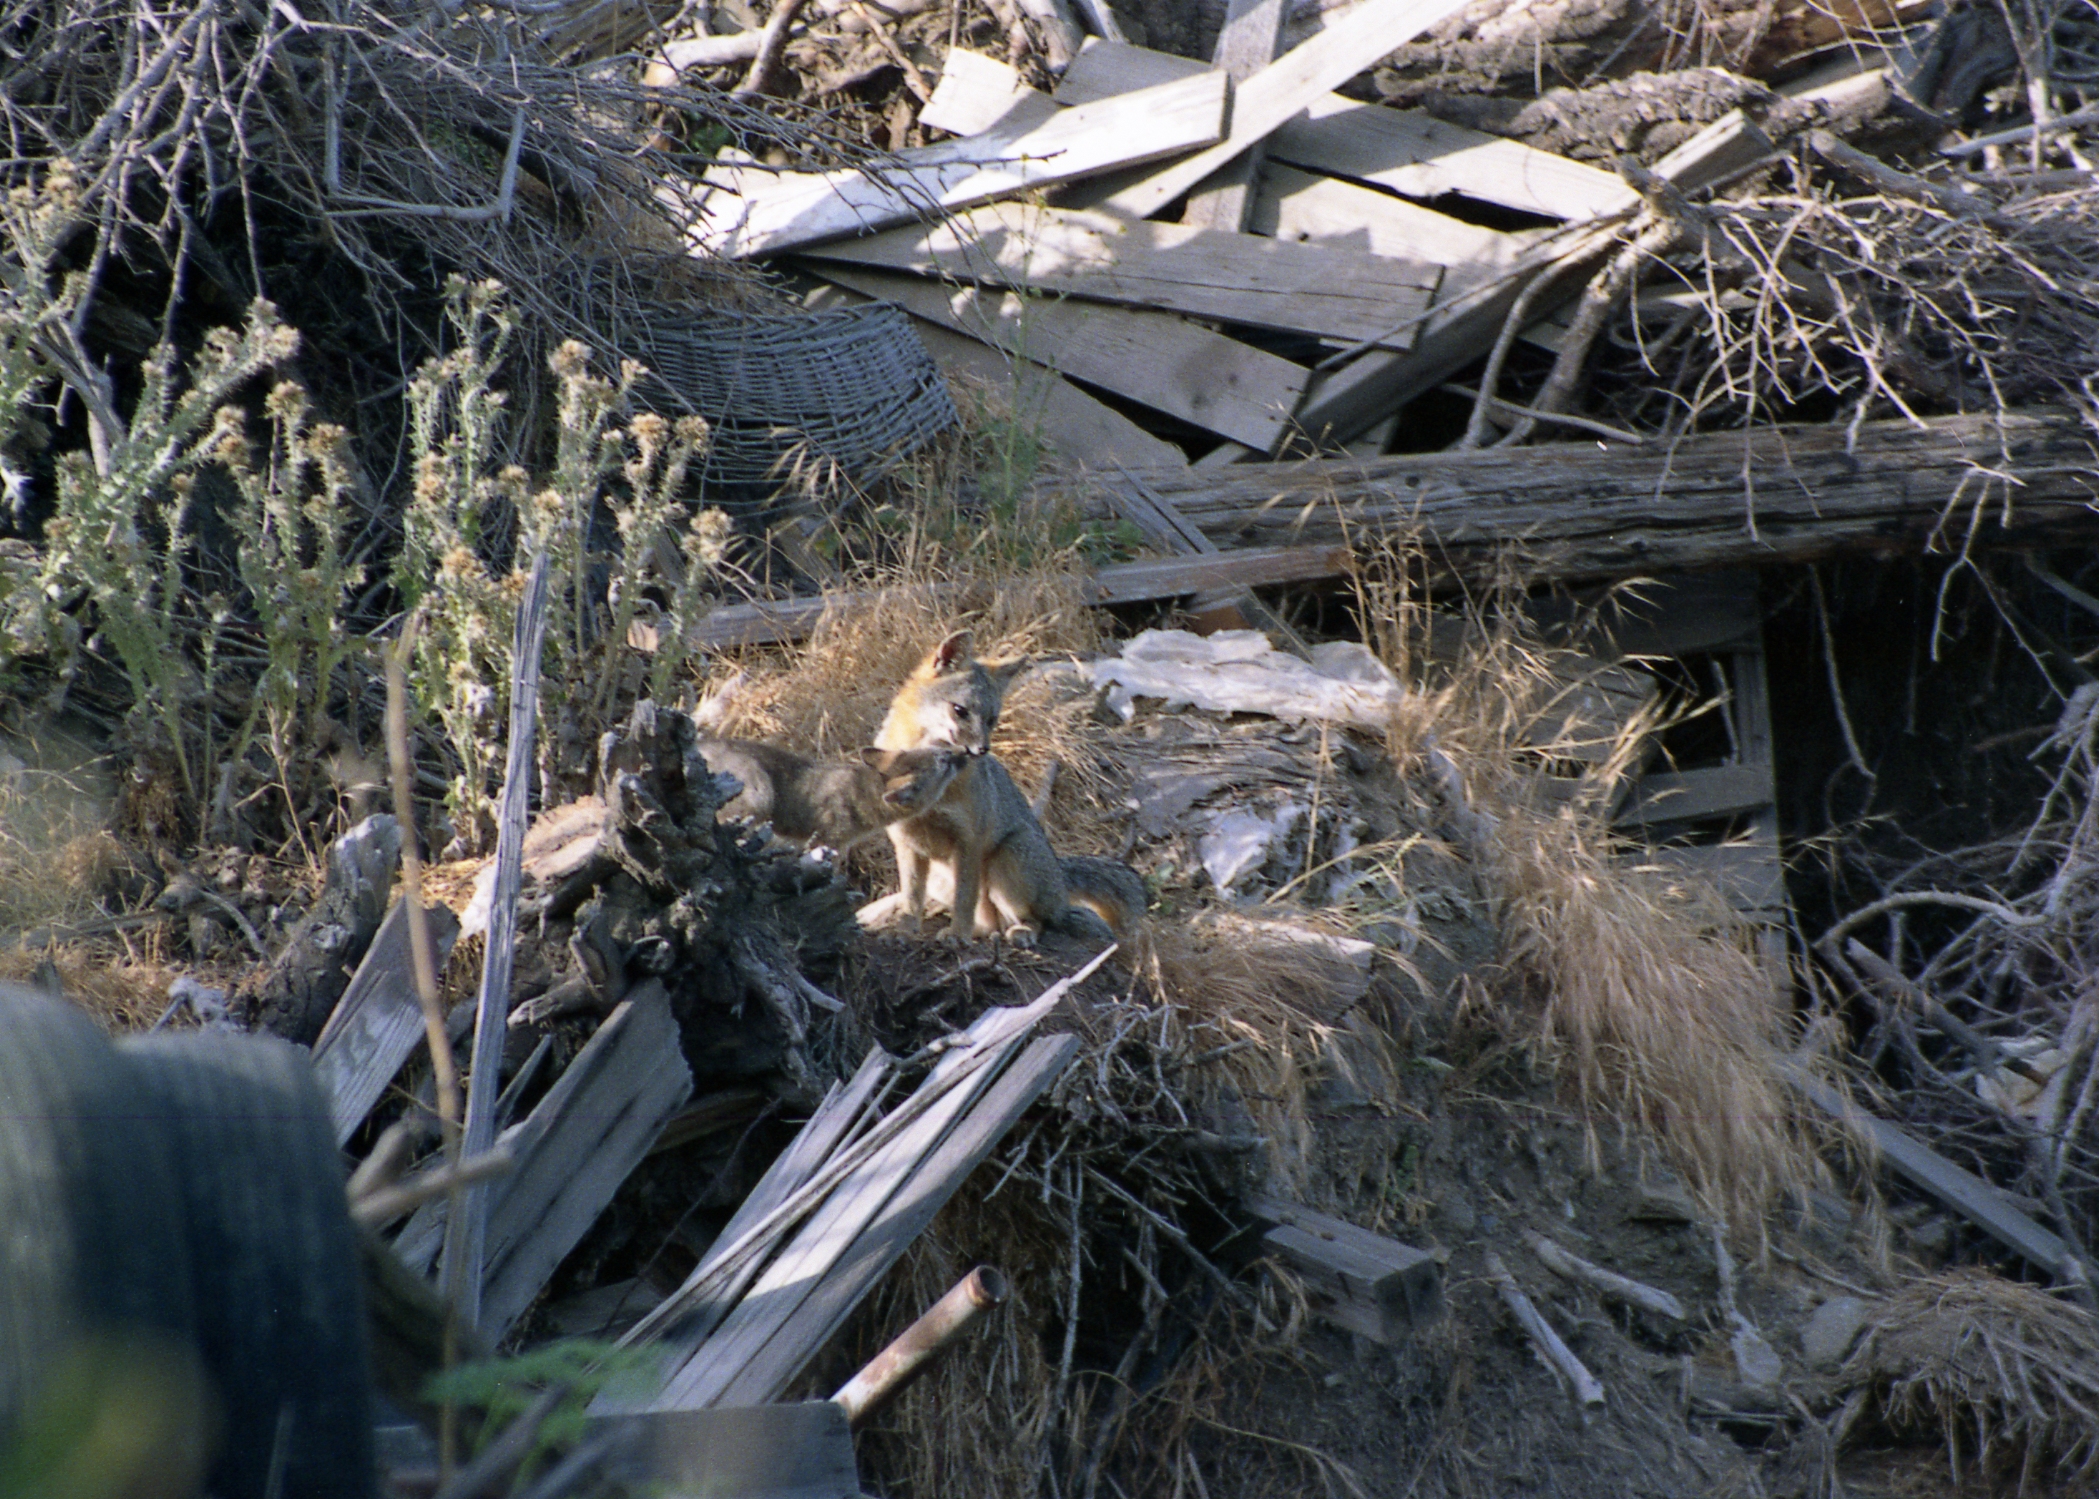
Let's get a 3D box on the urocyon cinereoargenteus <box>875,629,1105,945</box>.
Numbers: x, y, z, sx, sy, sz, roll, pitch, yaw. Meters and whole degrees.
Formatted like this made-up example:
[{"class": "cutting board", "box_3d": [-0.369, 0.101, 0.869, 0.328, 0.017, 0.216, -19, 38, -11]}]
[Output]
[{"class": "urocyon cinereoargenteus", "box_3d": [-0.222, 0.199, 7.979, 0.448, 0.944, 1.211, 12, -9, 34]}]
